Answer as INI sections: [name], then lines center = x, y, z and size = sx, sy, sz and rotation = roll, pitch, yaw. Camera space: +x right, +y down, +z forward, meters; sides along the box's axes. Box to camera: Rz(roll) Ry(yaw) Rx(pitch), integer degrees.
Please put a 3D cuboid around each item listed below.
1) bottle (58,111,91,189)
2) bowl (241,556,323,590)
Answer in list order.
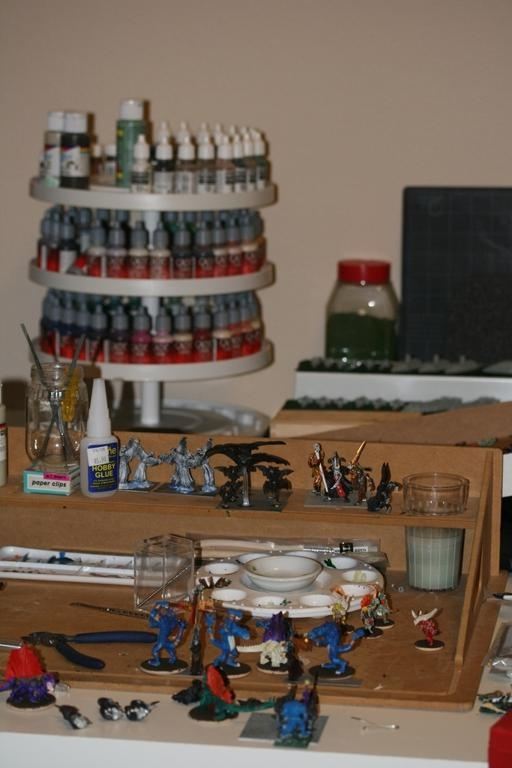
[bottle]
center = -0.535, -0.694, 2.409
size = 0.092, 0.242, 0.173
rotation = -4, 9, -8
[bowl]
center = 0.041, 0.297, 1.279
size = 0.120, 0.030, 0.117
rotation = -2, 8, 0
